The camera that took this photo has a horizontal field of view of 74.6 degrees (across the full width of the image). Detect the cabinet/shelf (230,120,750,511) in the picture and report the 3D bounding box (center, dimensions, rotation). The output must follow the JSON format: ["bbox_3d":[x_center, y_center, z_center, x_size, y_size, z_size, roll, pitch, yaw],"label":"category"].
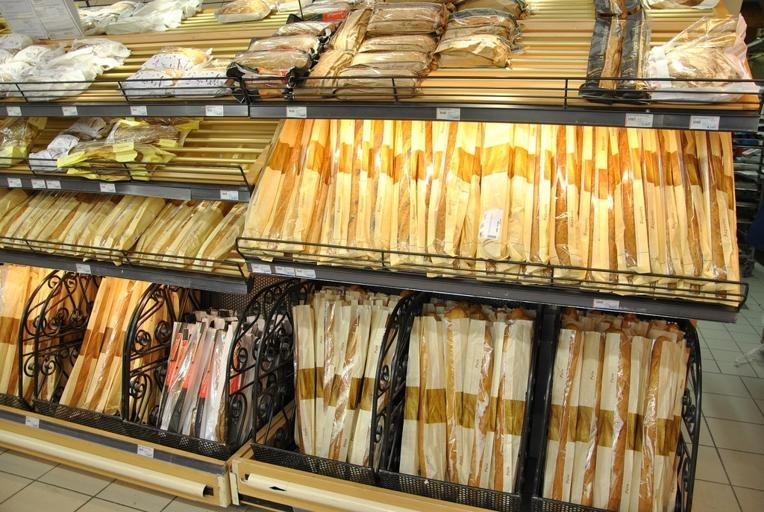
[{"bbox_3d":[0.940,0.476,3.843,3.505,1.774,0.760,7,-13,12],"label":"cabinet/shelf"}]

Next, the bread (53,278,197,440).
[{"bbox_3d":[-1.576,0.661,3.131,0.503,0.872,0.964,11,5,8],"label":"bread"}]

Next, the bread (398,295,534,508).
[{"bbox_3d":[0.425,0.711,2.626,0.717,0.892,0.325,6,2,15],"label":"bread"}]
